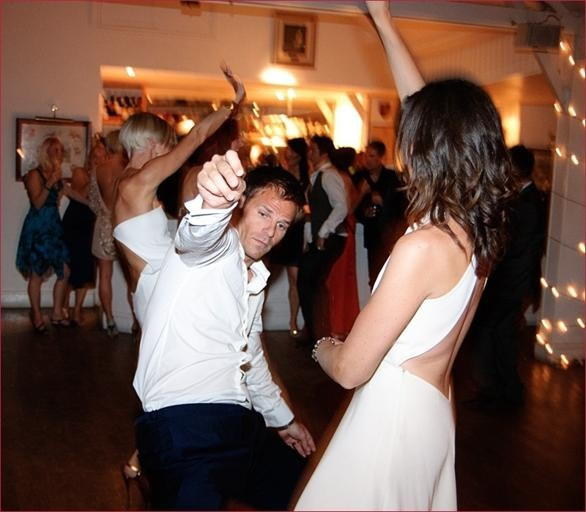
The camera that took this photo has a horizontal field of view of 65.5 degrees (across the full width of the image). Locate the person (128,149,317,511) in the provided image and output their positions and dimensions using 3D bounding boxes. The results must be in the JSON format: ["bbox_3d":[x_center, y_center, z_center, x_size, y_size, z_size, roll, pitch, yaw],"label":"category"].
[{"bbox_3d":[-0.175,0.233,1.287,0.444,0.996,0.637,4,7,26],"label":"person"}]

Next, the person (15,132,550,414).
[{"bbox_3d":[-0.105,0.128,2.593,1.970,1.603,1.166,0,-4,-1],"label":"person"}]

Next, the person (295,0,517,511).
[{"bbox_3d":[0.270,0.125,1.132,0.519,1.119,0.295,-1,7,-18],"label":"person"}]

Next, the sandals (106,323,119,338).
[{"bbox_3d":[-1.841,0.758,4.628,0.060,0.083,0.179,-1,-15,-11],"label":"sandals"}]
